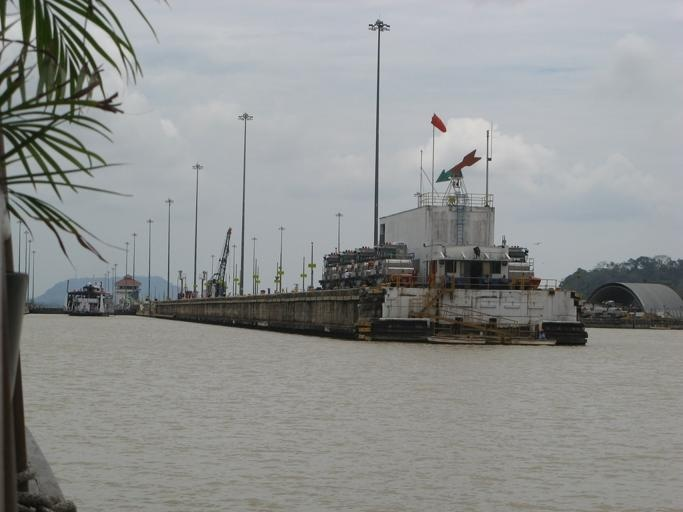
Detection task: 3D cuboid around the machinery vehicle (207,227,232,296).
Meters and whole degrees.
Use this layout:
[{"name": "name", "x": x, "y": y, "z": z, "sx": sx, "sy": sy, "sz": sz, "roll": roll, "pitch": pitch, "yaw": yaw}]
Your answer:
[{"name": "machinery vehicle", "x": -12.699, "y": 1.825, "z": 141.287, "sx": 2.035, "sy": 9.124, "sz": 2.157, "roll": 3, "pitch": 0, "yaw": -28}]
